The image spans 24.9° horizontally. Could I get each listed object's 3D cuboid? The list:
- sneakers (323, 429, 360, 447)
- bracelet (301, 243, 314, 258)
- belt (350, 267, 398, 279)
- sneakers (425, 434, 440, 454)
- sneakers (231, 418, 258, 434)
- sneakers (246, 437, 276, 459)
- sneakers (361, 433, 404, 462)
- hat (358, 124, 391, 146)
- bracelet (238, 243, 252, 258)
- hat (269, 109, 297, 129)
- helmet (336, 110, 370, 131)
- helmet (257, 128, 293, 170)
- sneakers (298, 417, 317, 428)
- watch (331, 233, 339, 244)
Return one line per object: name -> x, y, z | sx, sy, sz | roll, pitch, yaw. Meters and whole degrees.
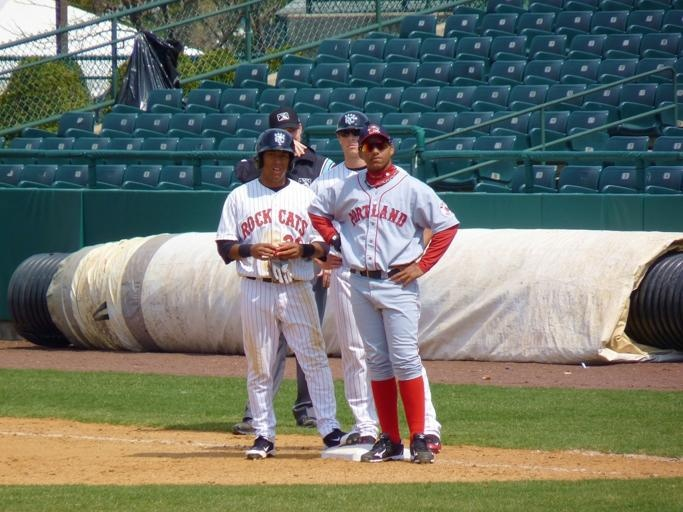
sneakers -> 0.004, 1.924, 16.537 | 0.466, 0.172, 0.165 | -11, 2, 5
bracelet -> -0.331, -0.073, 16.351 | 0.114, 0.063, 0.146 | -7, -38, -3
belt -> 0.368, 0.166, 16.125 | 0.499, 0.127, 0.069 | 5, 4, 8
sneakers -> 0.989, 1.947, 16.337 | 0.139, 0.213, 0.105 | -6, -19, -28
sneakers -> -1.062, 1.875, 17.158 | 0.371, 0.167, 0.143 | 1, -2, 16
sneakers -> -0.840, 2.023, 16.317 | 0.157, 0.186, 0.363 | -2, -11, 22
sneakers -> 0.483, 2.025, 16.228 | 0.521, 0.247, 0.191 | 4, -7, -32
hat -> 0.327, -1.259, 16.254 | 0.299, 0.201, 0.469 | -7, -2, -1
bracelet -> -0.987, -0.068, 16.324 | 0.136, 0.127, 0.137 | 3, -19, 2
hat -> -0.605, -1.526, 17.092 | 0.339, 0.221, 0.319 | 4, 4, -3
helmet -> 0.175, -1.470, 16.800 | 0.240, 0.139, 0.302 | -2, -8, 38
helmet -> -0.681, -1.171, 16.503 | 0.358, 0.338, 0.430 | 1, -5, 0
sneakers -> -0.364, 1.858, 17.383 | 0.104, 0.094, 0.234 | 2, -5, -32
watch -> -0.046, -0.193, 16.283 | 0.086, 0.084, 0.089 | 0, 5, -1
